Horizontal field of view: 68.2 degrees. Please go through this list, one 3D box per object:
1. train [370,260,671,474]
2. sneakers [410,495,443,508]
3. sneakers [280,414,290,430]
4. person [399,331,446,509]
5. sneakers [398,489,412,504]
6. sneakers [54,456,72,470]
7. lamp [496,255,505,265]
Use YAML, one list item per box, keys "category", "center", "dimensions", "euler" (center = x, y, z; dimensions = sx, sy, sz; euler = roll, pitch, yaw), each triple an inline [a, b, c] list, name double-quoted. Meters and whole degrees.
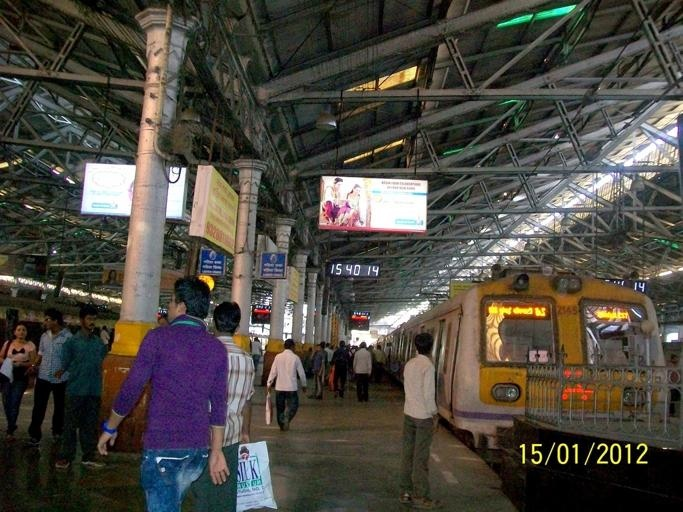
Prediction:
- category: "train"
  center: [3.204, 1.655, 9.888]
  dimensions: [2.061, 2.507, 7.781]
  euler: [1, -7, -4]
- category: "sneakers"
  center: [0.999, 2.874, 5.895]
  dimensions: [0.336, 0.152, 0.154]
  euler: [0, 0, -4]
- category: "sneakers"
  center: [-1.200, 3.549, 10.673]
  dimensions: [0.206, 0.365, 0.142]
  euler: [1, -6, -13]
- category: "person"
  center: [0.958, 1.984, 6.210]
  dimensions: [0.343, 2.042, 0.555]
  euler: [7, -13, -25]
- category: "sneakers"
  center: [0.774, 2.939, 6.140]
  dimensions: [0.123, 0.047, 0.120]
  euler: [-3, 5, -26]
- category: "sneakers"
  center: [-3.813, 2.869, 6.940]
  dimensions: [0.090, 0.111, 0.263]
  euler: [8, 2, -9]
- category: "lamp"
  center: [12.814, 0.270, 40.910]
  dimensions: [0.761, 0.841, 0.768]
  euler: [-2, -7, 23]
